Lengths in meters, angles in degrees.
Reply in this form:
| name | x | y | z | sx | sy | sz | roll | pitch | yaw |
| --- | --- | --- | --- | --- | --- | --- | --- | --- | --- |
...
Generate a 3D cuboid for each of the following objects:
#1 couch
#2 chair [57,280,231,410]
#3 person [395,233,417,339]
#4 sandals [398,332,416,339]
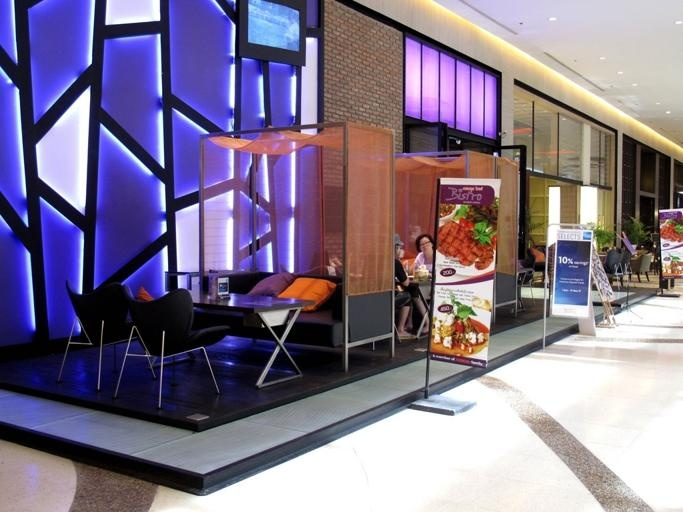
| name | x | y | z | sx | sy | sz | roll | pitch | yaw |
| --- | --- | --- | --- | --- | --- | --- | --- | --- | --- |
| couch | -0.416 | 0.697 | 5.769 | 2.658 | 1.134 | 1.349 | 0 | 0 | 38 |
| chair | -1.886 | 0.735 | 4.701 | 0.993 | 1.019 | 1.638 | -2 | 0 | -44 |
| person | 0.759 | 0.429 | 6.825 | 0.305 | 1.353 | 0.351 | 8 | 5 | 26 |
| sandals | 0.888 | 1.089 | 6.967 | 0.248 | 0.087 | 0.086 | -1 | 0 | -3 |
